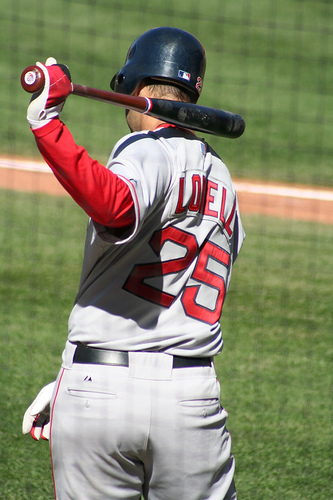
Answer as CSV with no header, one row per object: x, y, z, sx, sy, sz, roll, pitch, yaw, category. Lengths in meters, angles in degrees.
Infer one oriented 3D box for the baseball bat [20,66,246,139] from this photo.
-0.052,-0.377,2.021,0.746,0.099,0.099,5,-78,-44,baseball bat

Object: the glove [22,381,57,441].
-0.391,0.511,2.360,0.128,0.059,0.216,51,129,50,glove
